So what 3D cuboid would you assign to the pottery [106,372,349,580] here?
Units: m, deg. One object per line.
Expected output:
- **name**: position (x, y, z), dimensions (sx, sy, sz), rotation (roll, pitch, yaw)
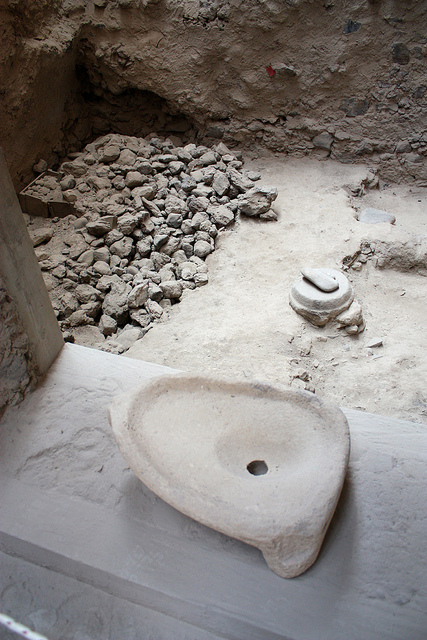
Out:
- **pottery**: position (0.054, 0.379, 1.439), dimensions (0.640, 0.355, 0.538), rotation (6, 29, 27)
